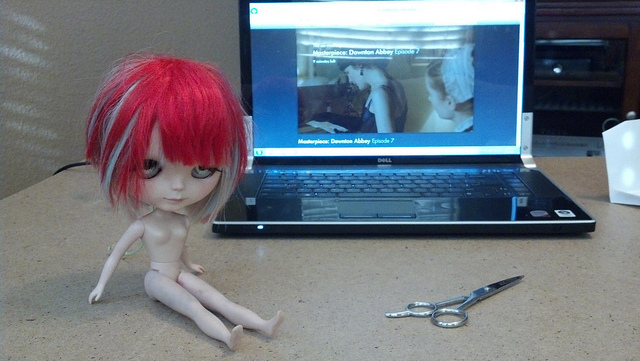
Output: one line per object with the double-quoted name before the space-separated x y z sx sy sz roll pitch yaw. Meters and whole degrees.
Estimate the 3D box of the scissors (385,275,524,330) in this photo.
"scissors" 0.198 0.190 0.748 0.199 0.008 0.063 -14 25 -16
